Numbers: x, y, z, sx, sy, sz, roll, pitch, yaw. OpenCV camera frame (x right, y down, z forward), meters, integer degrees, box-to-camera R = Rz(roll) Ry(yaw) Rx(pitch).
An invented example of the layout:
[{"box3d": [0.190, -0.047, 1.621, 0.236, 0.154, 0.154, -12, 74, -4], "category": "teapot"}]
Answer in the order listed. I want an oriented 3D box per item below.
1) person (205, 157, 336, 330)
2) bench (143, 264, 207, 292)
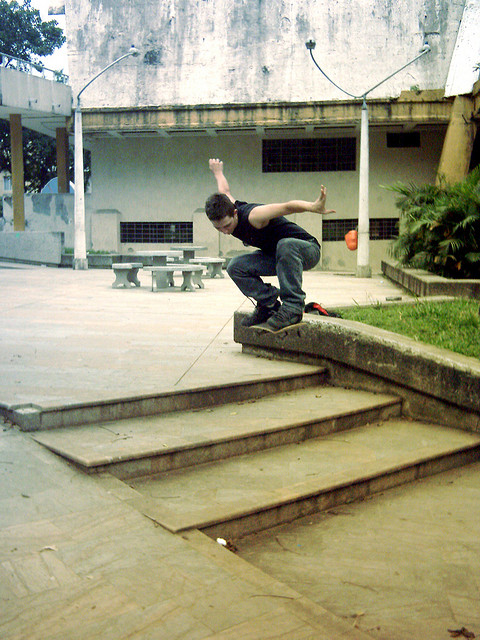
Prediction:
[{"box3d": [0.172, -0.734, 7.345, 0.705, 1.554, 0.980, -10, -4, -40], "category": "person"}, {"box3d": [-0.996, -0.756, 15.364, 0.821, 0.394, 2.319, 1, 4, -3], "category": "bench"}]
